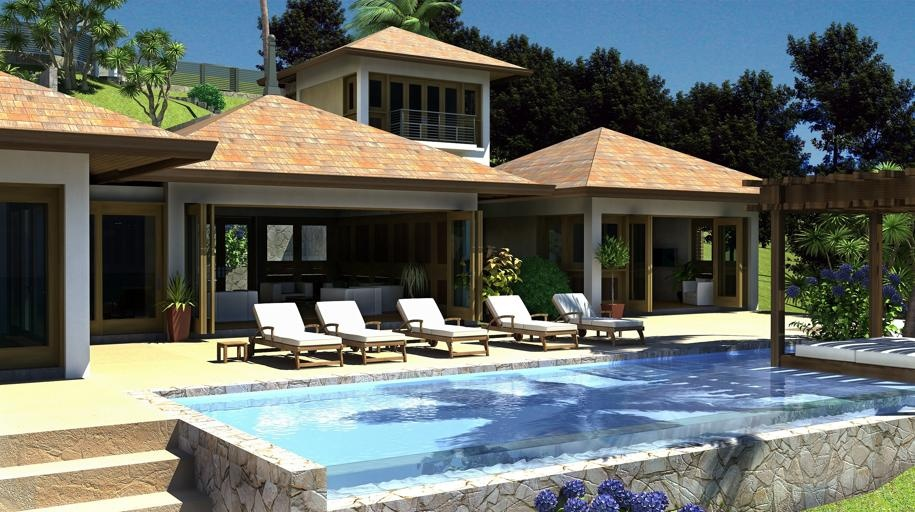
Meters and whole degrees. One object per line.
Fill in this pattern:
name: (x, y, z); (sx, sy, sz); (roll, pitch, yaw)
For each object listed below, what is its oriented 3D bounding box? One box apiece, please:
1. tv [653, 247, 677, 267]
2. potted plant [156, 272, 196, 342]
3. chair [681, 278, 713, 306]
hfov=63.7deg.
tv: (8.276, 0.012, 29.271); (0.086, 0.538, 0.816); (-4, 2, -31)
potted plant: (-7.782, 1.344, 20.098); (1.530, 1.980, 1.647); (0, 0, -19)
chair: (8.831, 1.289, 27.151); (0.978, 0.990, 0.959); (2, -4, -9)
